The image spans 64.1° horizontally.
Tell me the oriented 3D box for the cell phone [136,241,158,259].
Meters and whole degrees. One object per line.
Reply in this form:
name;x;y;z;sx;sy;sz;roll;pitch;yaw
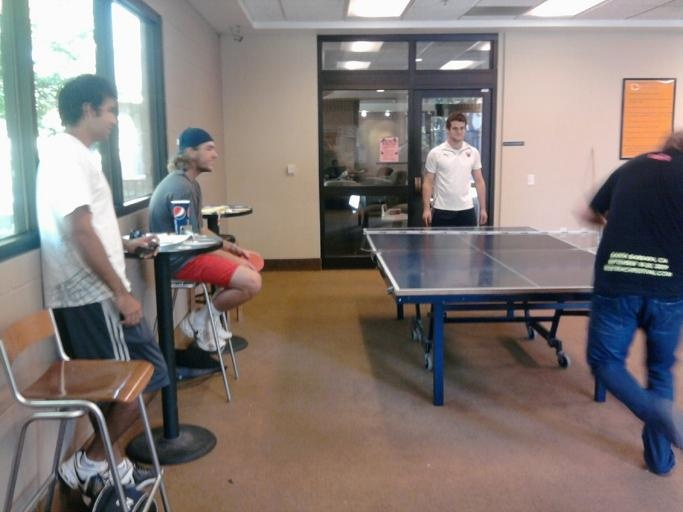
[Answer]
cell phone;-1.001;-0.032;2.828;0.087;0.033;0.068;-8;13;-15

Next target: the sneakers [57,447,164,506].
sneakers;-1.045;1.062;2.743;0.630;0.291;0.223;24;34;-41

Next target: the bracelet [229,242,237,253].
bracelet;-0.849;-0.073;4.342;0.064;0.065;0.019;-31;1;30

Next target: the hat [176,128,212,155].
hat;-1.057;-0.832;3.961;0.226;0.179;0.206;12;15;-19

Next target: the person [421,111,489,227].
person;1.173;-0.869;5.582;0.678;1.136;0.302;-1;13;-2
